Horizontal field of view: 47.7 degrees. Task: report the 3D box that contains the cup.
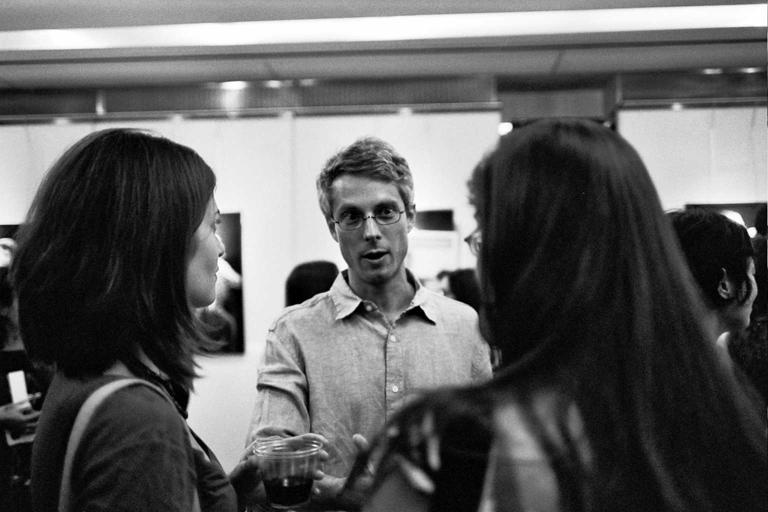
[{"bbox_3d":[-0.264,0.594,2.384,0.187,0.164,0.196,0,-4,0],"label":"cup"}]
